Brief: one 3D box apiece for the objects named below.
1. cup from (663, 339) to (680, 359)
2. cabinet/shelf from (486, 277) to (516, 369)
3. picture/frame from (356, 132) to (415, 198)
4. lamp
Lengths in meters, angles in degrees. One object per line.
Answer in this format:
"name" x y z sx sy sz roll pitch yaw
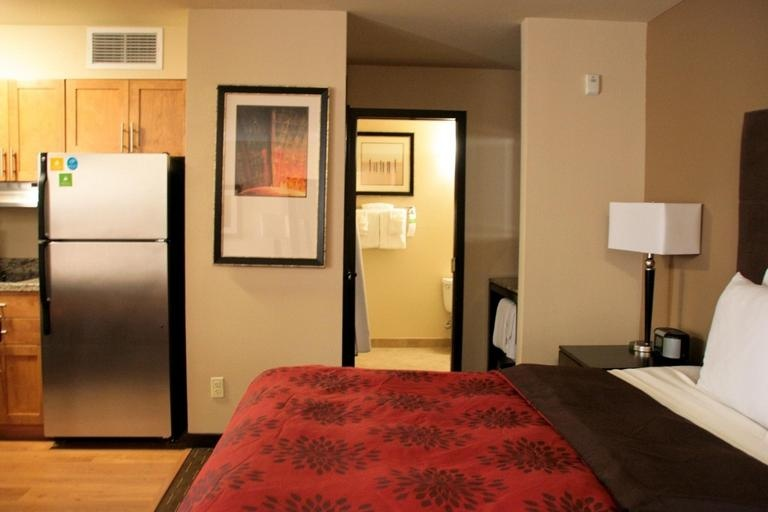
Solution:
"cup" 1.970 0.648 4.238 0.124 0.138 0.124 1 0 0
"cabinet/shelf" 1.039 0.645 5.392 0.247 0.855 0.654 1 7 9
"picture/frame" -0.014 -1.023 6.743 0.819 0.777 0.053 1 2 -8
"lamp" 1.917 0.160 4.356 0.608 1.077 0.384 3 8 20
